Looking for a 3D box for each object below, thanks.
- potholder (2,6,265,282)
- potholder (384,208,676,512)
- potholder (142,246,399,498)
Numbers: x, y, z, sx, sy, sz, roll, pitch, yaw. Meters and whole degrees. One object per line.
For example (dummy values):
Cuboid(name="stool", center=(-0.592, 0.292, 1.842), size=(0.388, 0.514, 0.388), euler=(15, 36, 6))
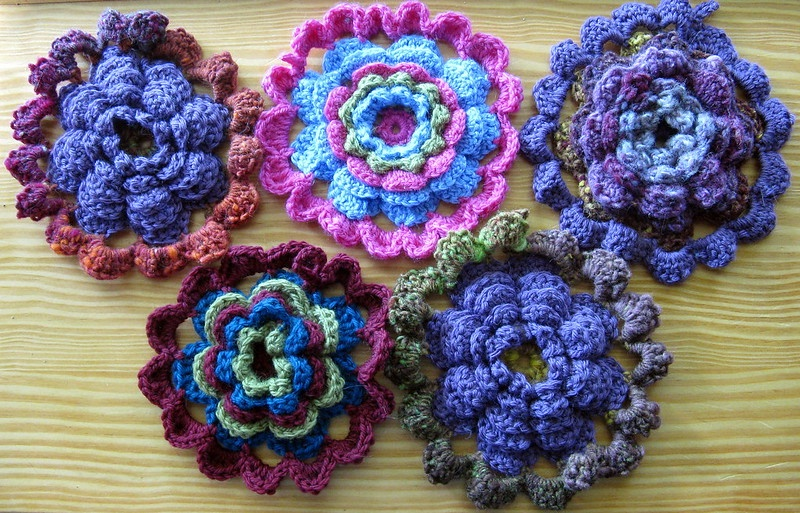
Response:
Cuboid(name="potholder", center=(-0.840, -0.357, 3.127), size=(0.825, 0.813, 0.410), euler=(-10, 23, -7))
Cuboid(name="potholder", center=(0.408, 0.357, 3.049), size=(0.982, 0.928, 0.204), euler=(0, -2, 2))
Cuboid(name="potholder", center=(-0.418, 0.349, 3.065), size=(0.786, 0.711, 0.370), euler=(-4, 23, 8))
